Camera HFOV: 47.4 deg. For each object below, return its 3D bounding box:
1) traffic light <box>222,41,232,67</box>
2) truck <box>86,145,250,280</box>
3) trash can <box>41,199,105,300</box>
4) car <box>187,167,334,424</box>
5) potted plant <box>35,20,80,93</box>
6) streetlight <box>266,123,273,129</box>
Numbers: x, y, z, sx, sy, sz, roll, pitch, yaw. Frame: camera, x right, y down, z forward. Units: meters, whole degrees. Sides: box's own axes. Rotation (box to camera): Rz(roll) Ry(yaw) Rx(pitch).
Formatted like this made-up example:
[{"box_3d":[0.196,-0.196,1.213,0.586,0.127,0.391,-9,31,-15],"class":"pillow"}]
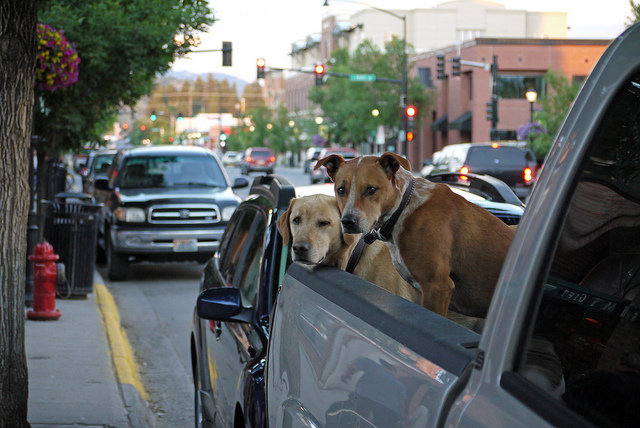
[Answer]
[{"box_3d":[-4.179,-7.098,32.537,0.385,0.858,0.498,10,3,3],"class":"traffic light"},{"box_3d":[-2.975,-0.082,14.052,1.965,1.841,3.550,0,-5,-11],"class":"truck"},{"box_3d":[-3.673,0.523,10.766,0.822,1.469,0.903,1,0,28],"class":"trash can"},{"box_3d":[-0.544,0.570,4.898,1.060,1.214,1.799,1,-6,-12],"class":"car"},{"box_3d":[-4.058,-2.402,11.289,0.567,0.564,0.599,23,52,13],"class":"potted plant"},{"box_3d":[-6.390,-10.927,91.035,0.692,0.822,0.148,15,27,42],"class":"streetlight"}]
